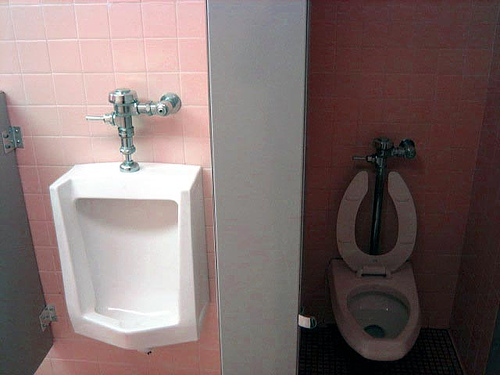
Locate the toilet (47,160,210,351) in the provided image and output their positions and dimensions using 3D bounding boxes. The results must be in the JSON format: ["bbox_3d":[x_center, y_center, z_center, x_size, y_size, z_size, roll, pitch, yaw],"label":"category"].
[{"bbox_3d":[-0.358,0.181,1.268,0.446,0.594,0.300,3,23,7],"label":"toilet"}]

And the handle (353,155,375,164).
[{"bbox_3d":[0.227,-0.055,0.841,0.050,0.016,0.015,1,11,-1],"label":"handle"}]
